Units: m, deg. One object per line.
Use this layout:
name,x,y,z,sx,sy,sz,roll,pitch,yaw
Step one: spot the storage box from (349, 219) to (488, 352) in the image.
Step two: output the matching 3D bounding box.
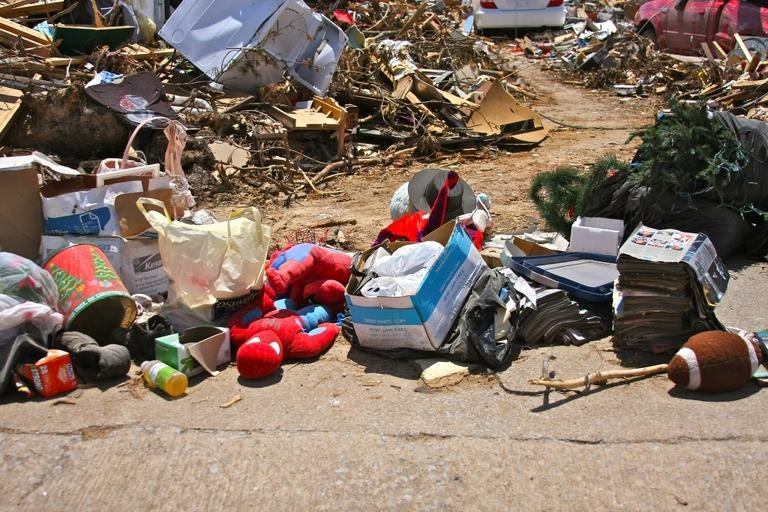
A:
storage box,0.292,0.264,5.626,1.484,0.998,0.946,0,-3,32

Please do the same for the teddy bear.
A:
teddy bear,-0.799,0.457,5.372,0.870,0.523,1.241,9,31,19

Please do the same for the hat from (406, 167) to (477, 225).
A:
hat,0.555,-0.668,6.633,0.713,0.169,0.609,23,46,1

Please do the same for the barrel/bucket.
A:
barrel/bucket,-2.430,0.318,5.313,0.559,0.738,0.624,-13,30,-25
